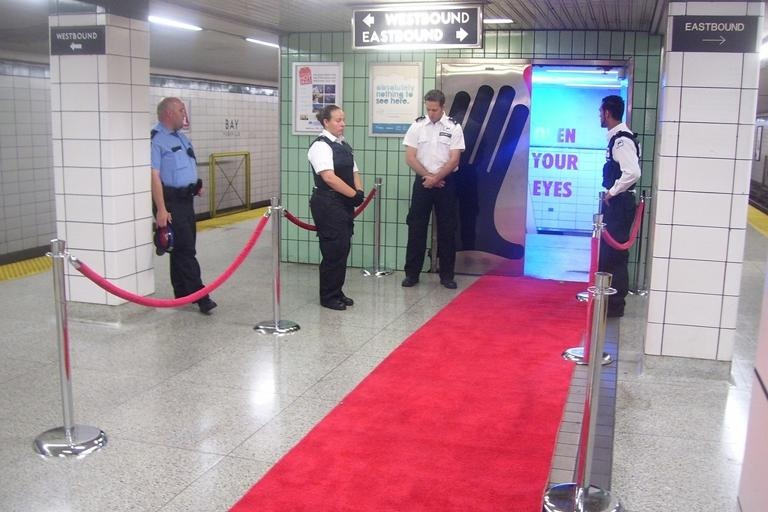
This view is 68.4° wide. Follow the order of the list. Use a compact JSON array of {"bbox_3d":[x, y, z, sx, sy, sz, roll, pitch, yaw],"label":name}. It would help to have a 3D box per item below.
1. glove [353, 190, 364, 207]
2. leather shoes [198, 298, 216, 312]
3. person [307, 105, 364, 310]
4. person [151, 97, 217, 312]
[{"bbox_3d":[-0.305,-0.677,6.582,0.171,0.158,0.161,2,-4,-5],"label":"glove"},{"bbox_3d":[-2.067,0.555,6.535,0.125,0.153,0.225,-46,10,-17],"label":"leather shoes"},{"bbox_3d":[-0.569,-0.555,6.596,0.489,2.325,0.529,-11,20,-37],"label":"person"},{"bbox_3d":[-2.411,-0.661,6.517,0.547,2.262,0.637,-4,16,-17],"label":"person"}]
